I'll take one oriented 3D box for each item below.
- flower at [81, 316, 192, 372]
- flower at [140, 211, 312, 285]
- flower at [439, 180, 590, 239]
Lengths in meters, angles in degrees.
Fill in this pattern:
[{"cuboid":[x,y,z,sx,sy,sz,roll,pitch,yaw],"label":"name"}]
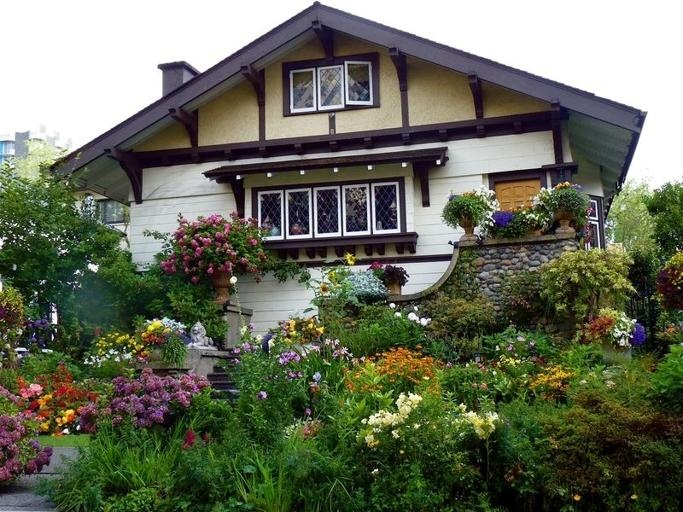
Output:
[{"cuboid":[-3.783,1.751,14.273,1.278,0.693,1.331,-5,-7,25],"label":"flower"},{"cuboid":[-3.207,-0.327,17.258,2.239,1.179,1.774,-3,24,0],"label":"flower"},{"cuboid":[3.524,-0.839,15.121,2.724,1.003,0.606,3,10,15],"label":"flower"}]
